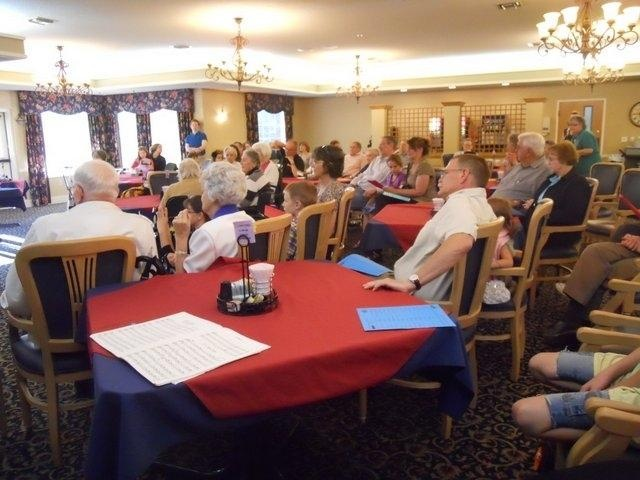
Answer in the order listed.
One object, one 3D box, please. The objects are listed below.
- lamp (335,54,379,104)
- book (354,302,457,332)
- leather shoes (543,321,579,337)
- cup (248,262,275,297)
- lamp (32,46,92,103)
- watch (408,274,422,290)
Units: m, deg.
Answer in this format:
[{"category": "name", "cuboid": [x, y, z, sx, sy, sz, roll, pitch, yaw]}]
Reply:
[{"category": "lamp", "cuboid": [1.058, -4.296, 12.640, 1.061, 0.934, 2.920, -1, 14, 3]}, {"category": "book", "cuboid": [0.322, 0.303, 1.805, 0.364, 0.039, 0.199, -4, 14, -13]}, {"category": "leather shoes", "cuboid": [1.638, 0.608, 3.179, 0.222, 0.086, 0.089, -1, 4, 9]}, {"category": "cup", "cuboid": [-0.229, 0.156, 1.855, 0.120, 0.112, 0.116, 1, 7, 0]}, {"category": "lamp", "cuboid": [-5.940, -4.009, 11.088, 1.448, 1.324, 1.380, -5, 12, -25]}, {"category": "watch", "cuboid": [0.428, 0.190, 2.155, 0.048, 0.071, 0.066, -10, 53, -10]}]
